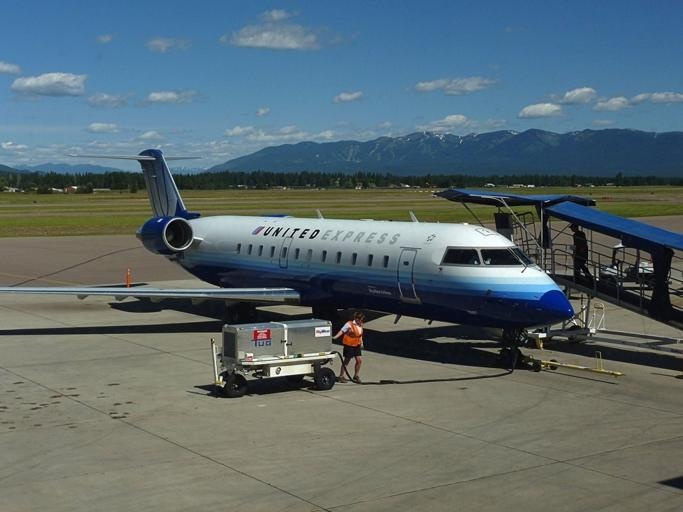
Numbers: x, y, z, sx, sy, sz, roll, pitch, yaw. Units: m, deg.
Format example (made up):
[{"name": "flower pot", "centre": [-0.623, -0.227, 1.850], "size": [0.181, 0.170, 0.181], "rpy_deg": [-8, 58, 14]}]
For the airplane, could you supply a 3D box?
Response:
[{"name": "airplane", "centre": [-0.763, 0.431, 23.728], "size": [14.558, 3.152, 14.567], "rpy_deg": [-6, 8, -40]}]

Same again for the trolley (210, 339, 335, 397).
[{"name": "trolley", "centre": [-1.835, 3.038, 17.418], "size": [3.400, 0.946, 1.553], "rpy_deg": [-1, 1, -20]}]
